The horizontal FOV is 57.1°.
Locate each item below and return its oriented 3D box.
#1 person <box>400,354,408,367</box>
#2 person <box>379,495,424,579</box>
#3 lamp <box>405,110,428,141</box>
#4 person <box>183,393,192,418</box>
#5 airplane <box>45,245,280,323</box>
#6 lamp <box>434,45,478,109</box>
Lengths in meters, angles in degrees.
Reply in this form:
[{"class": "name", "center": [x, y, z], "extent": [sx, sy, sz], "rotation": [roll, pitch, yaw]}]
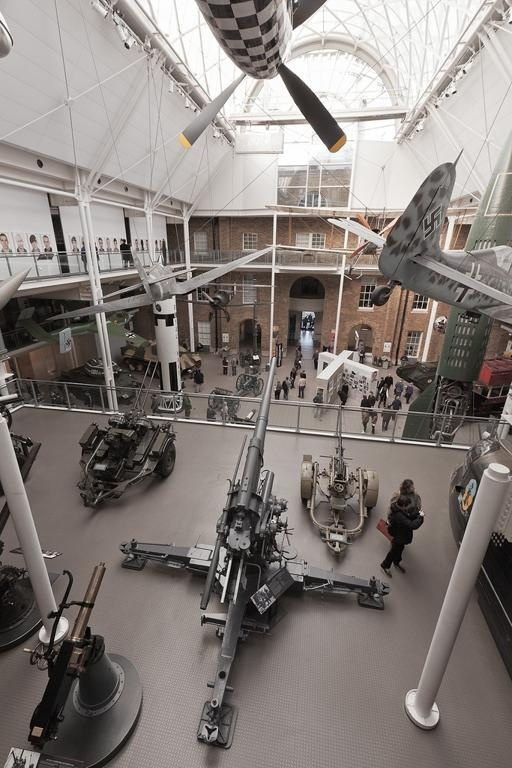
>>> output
[{"class": "person", "center": [8.478, -1.380, 26.984], "extent": [0.418, 0.578, 1.094], "rotation": [6, 18, 15]}, {"class": "person", "center": [2.211, 2.355, 7.100], "extent": [0.461, 1.351, 0.486], "rotation": [-5, 51, 4]}, {"class": "lamp", "center": [6.591, -10.663, 19.087], "extent": [0.225, 0.781, 0.794], "rotation": [23, 54, -9]}, {"class": "person", "center": [-1.783, 0.556, 12.009], "extent": [0.231, 0.728, 0.451], "rotation": [-1, 18, -8]}, {"class": "airplane", "center": [-3.591, -4.226, 19.120], "extent": [5.777, 1.598, 4.541], "rotation": [-16, 11, 13]}, {"class": "lamp", "center": [6.002, -9.130, 14.005], "extent": [0.675, 0.873, 3.397], "rotation": [0, 55, 16]}]
